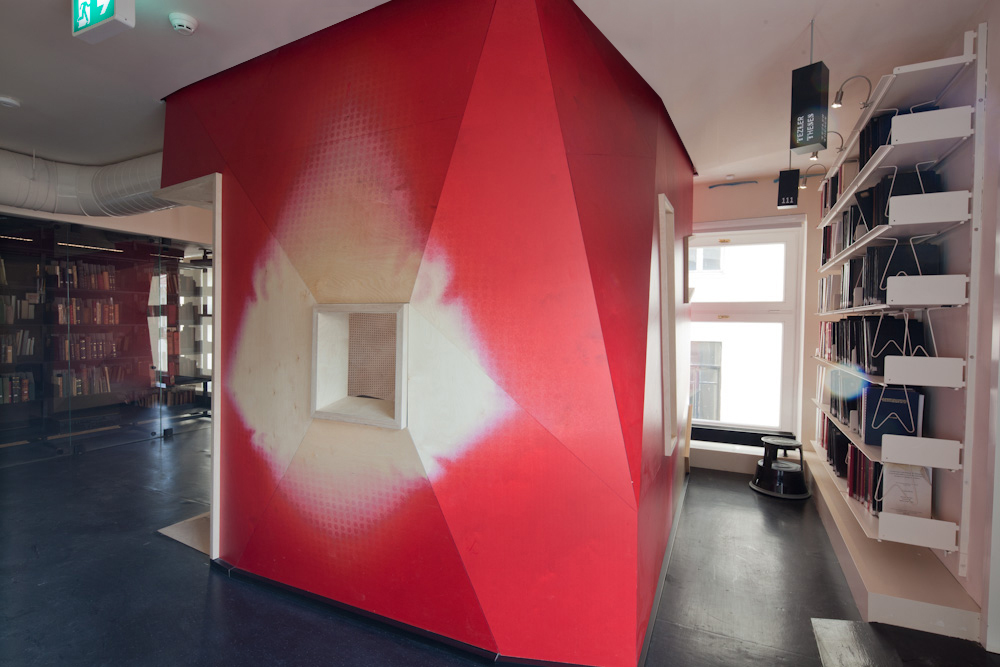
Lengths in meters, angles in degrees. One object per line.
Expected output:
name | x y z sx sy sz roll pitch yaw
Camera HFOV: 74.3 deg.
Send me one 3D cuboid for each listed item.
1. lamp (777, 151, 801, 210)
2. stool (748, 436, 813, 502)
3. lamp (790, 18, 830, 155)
lamp | 2.546 -1.379 5.804 0.166 0.485 0.051 -3 20 0
stool | 2.884 1.369 6.720 0.528 0.512 0.556 0 0 31
lamp | 2.156 -1.730 4.563 0.196 0.865 0.206 -7 15 -22
